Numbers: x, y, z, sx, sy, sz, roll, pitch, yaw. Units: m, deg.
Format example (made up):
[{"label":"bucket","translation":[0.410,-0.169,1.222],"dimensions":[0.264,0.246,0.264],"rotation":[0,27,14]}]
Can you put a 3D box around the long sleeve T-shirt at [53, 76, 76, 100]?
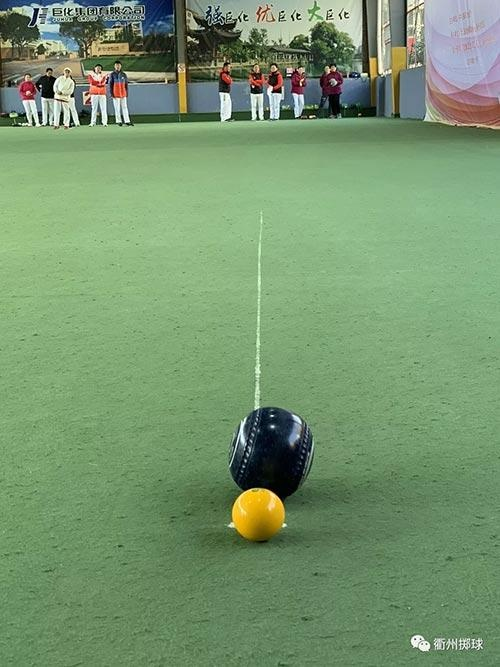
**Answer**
[{"label":"long sleeve T-shirt","translation":[-6.336,-8.375,20.317],"dimensions":[0.655,0.736,0.689],"rotation":[-6,13,-15]}]

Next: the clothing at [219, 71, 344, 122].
[{"label":"clothing","translation":[1.188,-8.944,21.991],"dimensions":[5.111,2.329,1.466],"rotation":[-6,26,-17]}]

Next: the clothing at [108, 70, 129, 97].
[{"label":"clothing","translation":[-4.433,-8.442,20.117],"dimensions":[0.541,0.846,0.428],"rotation":[-7,13,-17]}]

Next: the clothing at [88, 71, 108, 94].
[{"label":"clothing","translation":[-5.109,-8.486,20.095],"dimensions":[0.567,0.697,0.526],"rotation":[-5,13,-8]}]

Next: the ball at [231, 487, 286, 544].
[{"label":"ball","translation":[0.017,0.358,1.216],"dimensions":[0.113,0.102,0.103],"rotation":[0,27,7]}]
